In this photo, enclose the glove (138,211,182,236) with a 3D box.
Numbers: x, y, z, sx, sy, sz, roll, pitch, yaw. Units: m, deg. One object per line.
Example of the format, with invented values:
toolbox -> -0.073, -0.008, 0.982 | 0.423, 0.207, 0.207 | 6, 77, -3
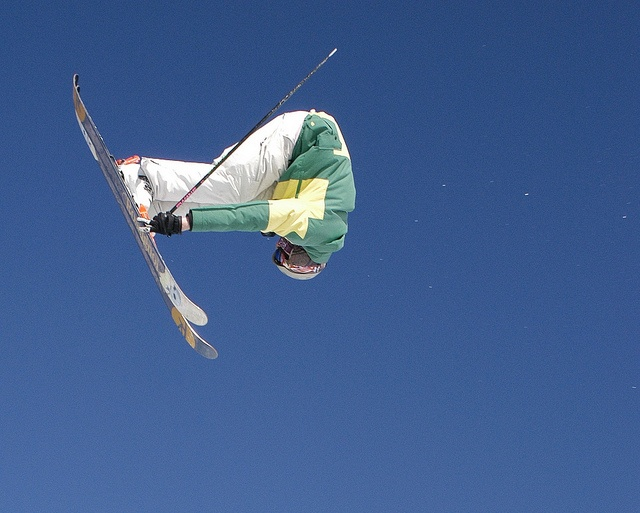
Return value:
glove -> -1.277, -0.261, 7.899 | 0.370, 0.196, 0.251 | 6, -7, -9
